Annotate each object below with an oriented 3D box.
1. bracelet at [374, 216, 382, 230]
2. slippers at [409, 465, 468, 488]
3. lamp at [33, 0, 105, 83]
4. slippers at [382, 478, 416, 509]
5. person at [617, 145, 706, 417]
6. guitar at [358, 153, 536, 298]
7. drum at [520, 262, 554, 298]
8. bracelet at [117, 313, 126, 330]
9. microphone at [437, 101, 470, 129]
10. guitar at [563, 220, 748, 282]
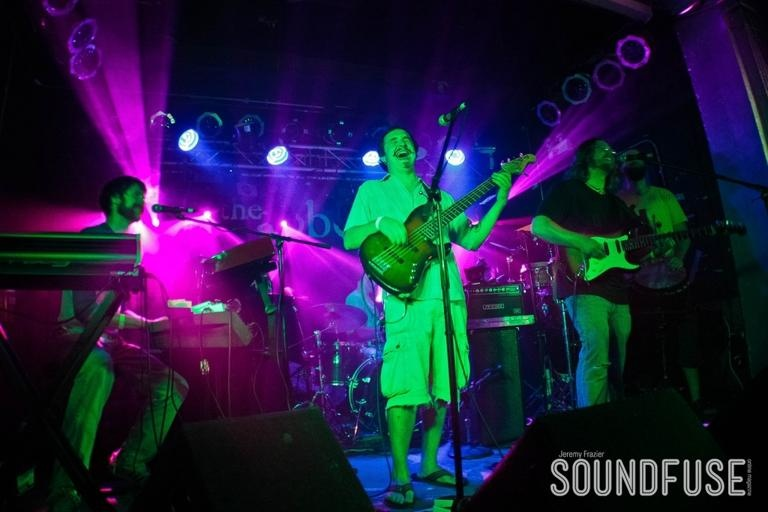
[{"bbox_3d":[-0.065,-0.274,4.862,0.084,0.089,0.067,10,0,-19],"label":"bracelet"},{"bbox_3d":[0.488,1.904,4.888,0.568,0.145,0.221,-7,-8,30],"label":"slippers"},{"bbox_3d":[-3.451,-2.458,6.414,0.395,0.788,0.193,-30,35,-31],"label":"lamp"},{"bbox_3d":[0.125,1.948,4.629,0.257,0.181,0.148,-6,-12,1],"label":"slippers"},{"bbox_3d":[3.017,0.292,6.020,0.994,2.747,0.374,-5,0,-10],"label":"person"},{"bbox_3d":[0.406,-0.172,4.790,1.264,0.966,0.390,-12,-14,27],"label":"guitar"},{"bbox_3d":[1.946,0.308,7.186,0.213,0.230,0.409,-3,24,5],"label":"drum"},{"bbox_3d":[-2.457,0.610,5.317,0.122,0.131,0.125,-3,-2,-24],"label":"bracelet"},{"bbox_3d":[0.568,-1.184,4.765,0.217,0.259,0.382,-6,-12,4],"label":"microphone"},{"bbox_3d":[2.503,-0.028,5.468,1.549,0.464,0.282,-5,-12,-4],"label":"guitar"}]
